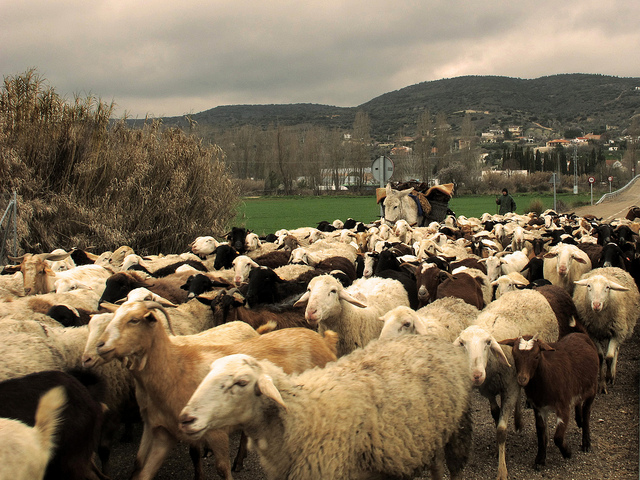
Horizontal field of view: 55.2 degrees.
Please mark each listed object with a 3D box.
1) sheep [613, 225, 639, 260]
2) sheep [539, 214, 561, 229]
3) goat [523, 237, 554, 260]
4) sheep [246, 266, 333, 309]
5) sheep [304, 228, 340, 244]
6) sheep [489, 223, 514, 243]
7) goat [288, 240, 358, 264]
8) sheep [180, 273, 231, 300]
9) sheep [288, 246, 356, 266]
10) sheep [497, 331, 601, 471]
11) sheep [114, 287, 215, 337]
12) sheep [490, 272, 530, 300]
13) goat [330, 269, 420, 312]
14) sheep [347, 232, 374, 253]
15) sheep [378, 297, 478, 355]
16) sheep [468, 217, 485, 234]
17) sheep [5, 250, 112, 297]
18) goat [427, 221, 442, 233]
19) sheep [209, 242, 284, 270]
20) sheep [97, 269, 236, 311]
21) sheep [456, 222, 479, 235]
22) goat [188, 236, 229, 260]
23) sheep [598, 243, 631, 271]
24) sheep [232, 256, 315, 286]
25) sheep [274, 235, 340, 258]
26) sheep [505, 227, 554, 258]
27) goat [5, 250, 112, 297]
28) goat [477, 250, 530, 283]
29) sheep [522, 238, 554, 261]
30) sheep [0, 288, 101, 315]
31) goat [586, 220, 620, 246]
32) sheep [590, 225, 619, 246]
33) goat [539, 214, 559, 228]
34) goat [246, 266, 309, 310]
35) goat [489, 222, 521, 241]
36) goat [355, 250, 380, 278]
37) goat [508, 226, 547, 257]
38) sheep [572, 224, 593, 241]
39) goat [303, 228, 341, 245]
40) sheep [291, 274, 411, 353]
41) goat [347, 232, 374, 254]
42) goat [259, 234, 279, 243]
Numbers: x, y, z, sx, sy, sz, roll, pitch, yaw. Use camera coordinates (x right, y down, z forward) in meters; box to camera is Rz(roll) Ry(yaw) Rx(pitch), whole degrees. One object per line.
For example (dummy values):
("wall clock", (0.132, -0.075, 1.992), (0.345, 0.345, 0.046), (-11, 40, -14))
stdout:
("sheep", (7.985, 0.085, 16.069), (0.721, 0.980, 1.883), (-10, -7, 24))
("sheep", (9.367, -0.723, 25.112), (0.746, 0.873, 1.620), (-4, 5, 23))
("goat", (6.207, 0.245, 17.504), (0.544, 0.716, 0.946), (-1, -2, 11))
("sheep", (-0.572, 0.815, 10.866), (0.643, 0.841, 1.474), (-9, 1, 41))
("sheep", (-0.112, -0.117, 19.318), (0.523, 0.484, 0.927), (-18, -5, 25))
("sheep", (6.200, -0.250, 21.133), (0.564, 0.497, 0.921), (-5, 6, 22))
("goat", (0.090, 0.302, 15.358), (0.604, 0.883, 1.741), (-1, -4, 40))
("sheep", (-2.048, 0.795, 10.508), (0.373, 0.302, 0.598), (-15, -8, 2))
("sheep", (-0.075, 0.375, 14.189), (1.458, 0.655, 0.594), (3, -3, -42))
("sheep", (3.333, 2.156, 8.773), (0.838, 1.605, 1.749), (7, 13, 44))
("sheep", (-2.204, 1.160, 9.228), (1.360, 0.633, 0.788), (8, -6, -37))
("sheep", (3.697, 0.817, 12.042), (0.505, 0.418, 0.858), (-18, -4, 23))
("goat", (1.059, 0.943, 11.927), (2.072, 1.124, 0.672), (3, 2, -1))
("sheep", (1.234, 0.053, 18.752), (0.476, 0.418, 0.732), (-3, -8, 4))
("sheep", (1.602, 1.236, 9.234), (0.697, 0.789, 1.720), (-5, -2, 27))
("sheep", (6.264, -0.615, 24.763), (0.706, 0.393, 1.323), (11, 16, 11))
("sheep", (-4.993, 0.649, 11.943), (0.991, 0.945, 1.651), (-6, -6, 21))
("goat", (3.991, -0.439, 21.717), (0.275, 0.507, 0.918), (-34, 0, 16))
("sheep", (-2.049, 0.372, 15.047), (0.777, 0.749, 1.324), (-9, -1, 44))
("sheep", (-2.819, 0.826, 10.771), (1.587, 0.814, 0.919), (2, -3, -18))
("sheep", (5.490, -0.417, 23.485), (0.438, 0.666, 0.684), (-18, -7, 35))
("goat", (-2.967, 0.178, 15.769), (0.623, 0.310, 0.713), (-2, 8, 8))
("sheep", (6.581, 0.356, 13.867), (0.471, 0.464, 0.850), (-18, -20, 25))
("sheep", (-0.973, 0.602, 12.101), (1.406, 0.762, 0.677), (0, -2, -41))
("sheep", (-0.428, 0.146, 16.415), (0.706, 0.676, 1.217), (-3, -1, 31))
("sheep", (6.518, 0.046, 18.967), (0.764, 0.976, 1.792), (0, 0, 28))
("goat", (-4.991, 0.644, 11.945), (0.969, 0.852, 1.596), (-8, -6, 16))
("goat", (4.423, 0.598, 14.614), (0.628, 0.962, 1.803), (-9, -3, 33))
("sheep", (6.144, 0.270, 17.337), (0.567, 0.744, 0.986), (0, -2, 19))
("sheep", (-4.251, 0.996, 10.088), (0.660, 0.627, 1.114), (-7, -5, 16))
("goat", (8.627, -0.198, 18.746), (0.782, 0.722, 1.201), (-5, -8, 18))
("sheep", (8.235, -0.111, 17.626), (0.644, 0.566, 1.062), (0, -17, 22))
("goat", (9.439, -0.806, 25.313), (0.733, 0.818, 1.543), (-2, -2, 17))
("goat", (-0.813, 0.809, 10.858), (0.532, 0.621, 1.150), (-5, 0, 25))
("goat", (6.284, -0.315, 21.318), (0.665, 0.463, 1.039), (-13, 3, 29))
("goat", (1.040, 0.559, 13.491), (0.549, 0.875, 1.254), (0, -2, 11))
("goat", (6.341, 0.028, 19.060), (0.703, 0.877, 1.555), (-1, 1, 20))
("sheep", (8.622, -0.226, 20.227), (0.398, 0.739, 0.981), (18, 15, 34))
("goat", (-0.114, -0.129, 19.255), (0.504, 0.472, 0.901), (-13, -2, 20))
("sheep", (0.458, 1.092, 10.034), (1.006, 1.243, 2.170), (-5, 6, 31))
("goat", (1.177, 0.103, 17.974), (0.483, 0.415, 0.758), (-3, -8, 3))
("goat", (-1.663, -0.048, 19.962), (0.479, 0.164, 0.254), (16, 5, -45))
